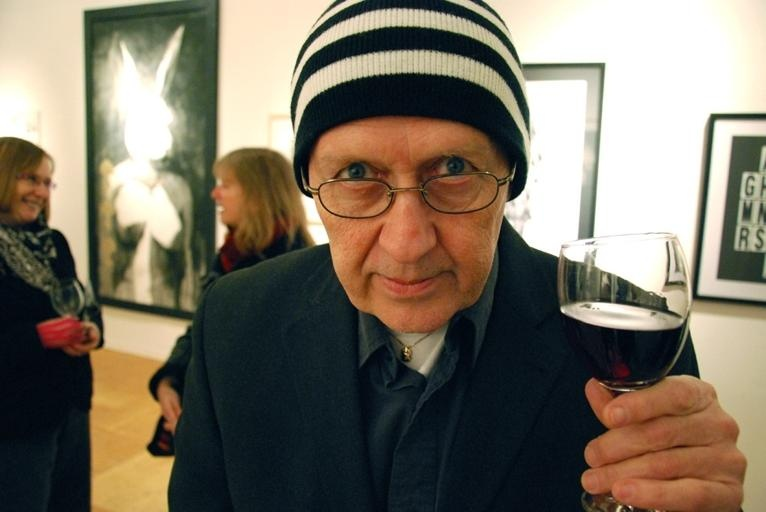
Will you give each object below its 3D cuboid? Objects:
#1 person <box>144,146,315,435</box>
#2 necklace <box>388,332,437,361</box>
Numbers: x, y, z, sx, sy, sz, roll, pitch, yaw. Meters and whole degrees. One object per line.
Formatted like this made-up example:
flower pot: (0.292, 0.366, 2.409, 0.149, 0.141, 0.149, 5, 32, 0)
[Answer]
person: (-0.926, 0.352, 4.639, 1.231, 2.092, 1.099, -6, 15, -22)
necklace: (0.105, 0.417, 3.084, 0.154, 0.042, 0.117, 3, 51, 12)
